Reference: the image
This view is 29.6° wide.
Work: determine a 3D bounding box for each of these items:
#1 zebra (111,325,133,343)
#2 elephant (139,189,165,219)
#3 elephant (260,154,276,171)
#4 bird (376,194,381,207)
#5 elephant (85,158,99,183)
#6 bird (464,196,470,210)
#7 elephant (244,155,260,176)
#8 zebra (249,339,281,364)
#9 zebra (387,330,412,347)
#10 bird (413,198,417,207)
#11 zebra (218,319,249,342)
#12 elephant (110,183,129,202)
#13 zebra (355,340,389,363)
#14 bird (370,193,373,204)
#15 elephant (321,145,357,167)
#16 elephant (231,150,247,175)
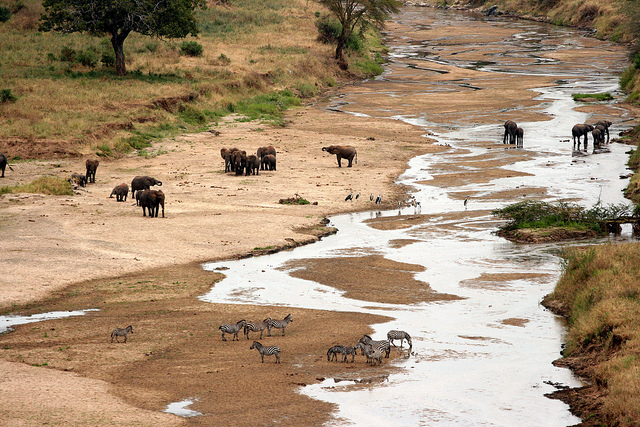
[{"bbox_3d":[-10.180,6.288,62.296,1.092,0.775,0.587,-3,9,-9],"label":"zebra"},{"bbox_3d":[-10.261,-0.536,74.276,1.690,1.638,0.945,6,12,41],"label":"elephant"},{"bbox_3d":[-3.560,-3.535,85.089,0.801,1.129,1.088,-6,9,-23],"label":"elephant"},{"bbox_3d":[3.802,-0.848,77.827,0.183,0.464,0.212,6,26,-22],"label":"bird"},{"bbox_3d":[-15.119,-2.775,80.382,0.779,1.517,1.573,-4,8,-10],"label":"elephant"},{"bbox_3d":[9.371,-0.627,77.192,0.270,0.887,0.458,-2,4,0],"label":"bird"},{"bbox_3d":[-4.691,-3.300,83.831,1.015,1.398,1.382,-2,8,2],"label":"elephant"},{"bbox_3d":[-2.738,7.077,61.495,1.175,1.050,1.649,-5,9,-24],"label":"zebra"},{"bbox_3d":[4.084,6.510,61.974,1.233,0.941,0.625,-1,9,3],"label":"zebra"},{"bbox_3d":[6.052,-0.634,76.627,0.159,0.407,0.196,-3,-16,-22],"label":"bird"},{"bbox_3d":[-4.436,6.148,62.673,1.415,1.038,0.686,-2,9,-6],"label":"zebra"},{"bbox_3d":[-12.732,-1.244,77.048,1.160,1.078,1.017,-3,9,-11],"label":"elephant"},{"bbox_3d":[2.482,7.064,61.377,1.775,1.078,0.800,2,9,24],"label":"zebra"},{"bbox_3d":[3.334,-0.889,78.188,0.233,0.629,0.280,0,-11,6],"label":"bird"},{"bbox_3d":[1.455,-4.067,86.683,2.198,1.509,2.015,-2,8,-3],"label":"elephant"},{"bbox_3d":[-5.567,-3.448,83.343,0.959,1.664,1.042,-4,9,-11],"label":"elephant"}]
